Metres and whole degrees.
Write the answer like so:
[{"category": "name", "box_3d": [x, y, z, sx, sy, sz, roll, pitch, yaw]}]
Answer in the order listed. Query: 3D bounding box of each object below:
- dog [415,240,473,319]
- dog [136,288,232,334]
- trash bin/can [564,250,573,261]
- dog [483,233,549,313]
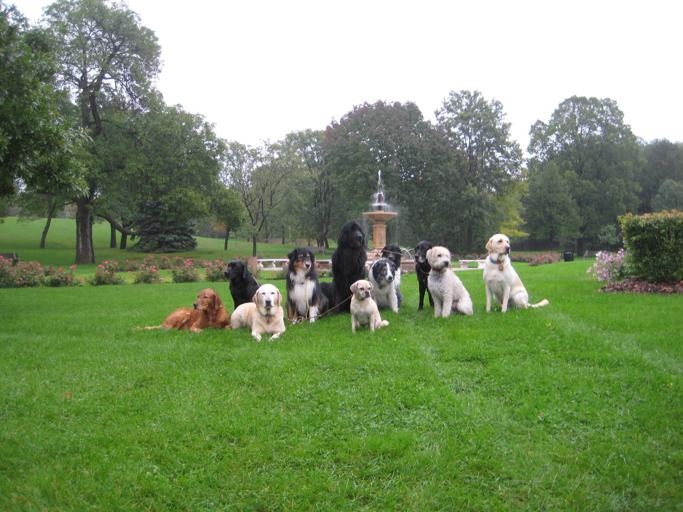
[{"category": "dog", "box_3d": [2.471, 0.529, 13.966, 1.245, 1.782, 1.265, -1, -3, 13]}, {"category": "dog", "box_3d": [-3.448, 1.334, 13.582, 1.655, 0.890, 0.969, -4, -7, 23]}, {"category": "trash bin/can", "box_3d": [18.223, 0.033, 47.117, 0.805, 1.137, 0.888, -2, 4, 16]}, {"category": "dog", "box_3d": [4.131, 0.378, 14.105, 1.599, 1.822, 0.936, -4, 3, -36]}]
